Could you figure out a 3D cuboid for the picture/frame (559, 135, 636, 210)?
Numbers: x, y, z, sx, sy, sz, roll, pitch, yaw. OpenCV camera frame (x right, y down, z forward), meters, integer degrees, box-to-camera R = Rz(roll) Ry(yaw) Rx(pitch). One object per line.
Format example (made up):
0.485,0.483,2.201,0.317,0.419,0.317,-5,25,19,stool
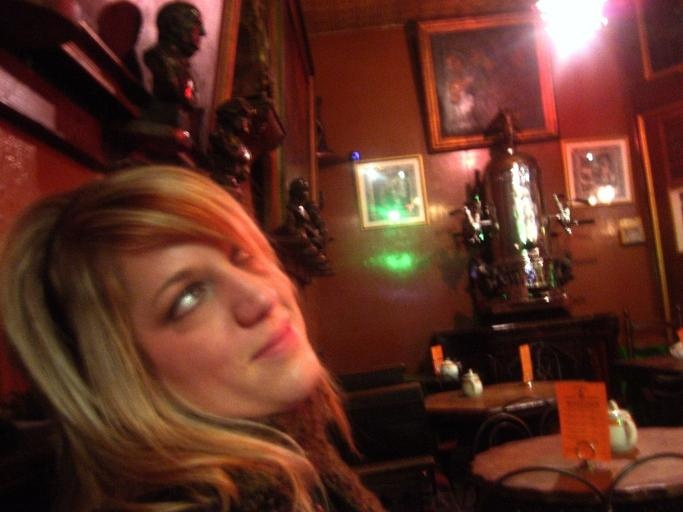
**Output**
1.763,-0.579,3.961,0.519,0.562,0.050,-5,-3,40,picture/frame

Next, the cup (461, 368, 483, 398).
0.601,0.592,2.746,0.109,0.157,0.114,-9,-8,-1,cup

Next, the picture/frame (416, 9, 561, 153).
1.042,-1.229,3.997,0.954,0.920,0.070,-5,5,23,picture/frame
